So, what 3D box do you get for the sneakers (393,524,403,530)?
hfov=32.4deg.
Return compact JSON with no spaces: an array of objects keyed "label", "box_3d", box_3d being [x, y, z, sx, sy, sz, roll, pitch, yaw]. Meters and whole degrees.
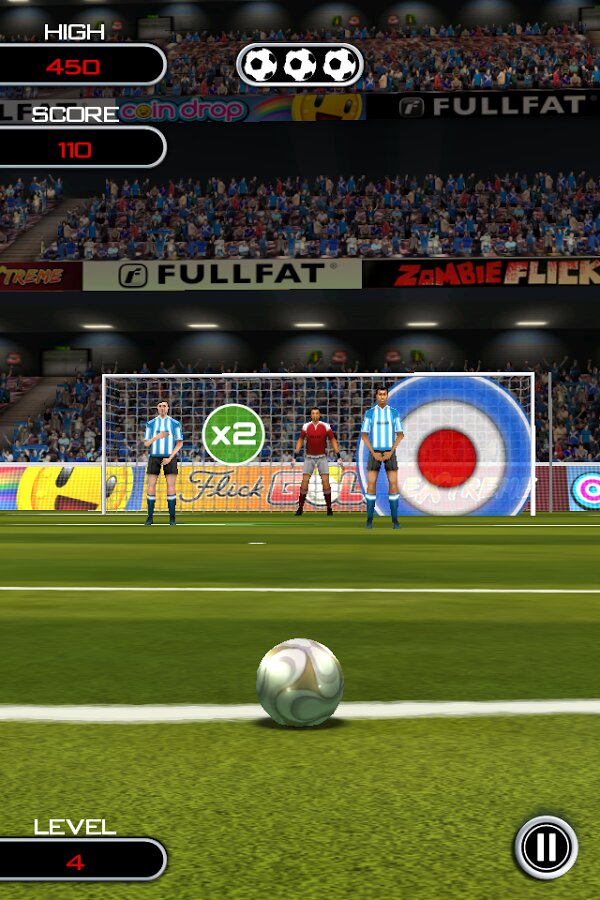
[{"label":"sneakers","box_3d":[1.359,1.063,14.387,0.076,0.116,0.124,-7,15,19]}]
